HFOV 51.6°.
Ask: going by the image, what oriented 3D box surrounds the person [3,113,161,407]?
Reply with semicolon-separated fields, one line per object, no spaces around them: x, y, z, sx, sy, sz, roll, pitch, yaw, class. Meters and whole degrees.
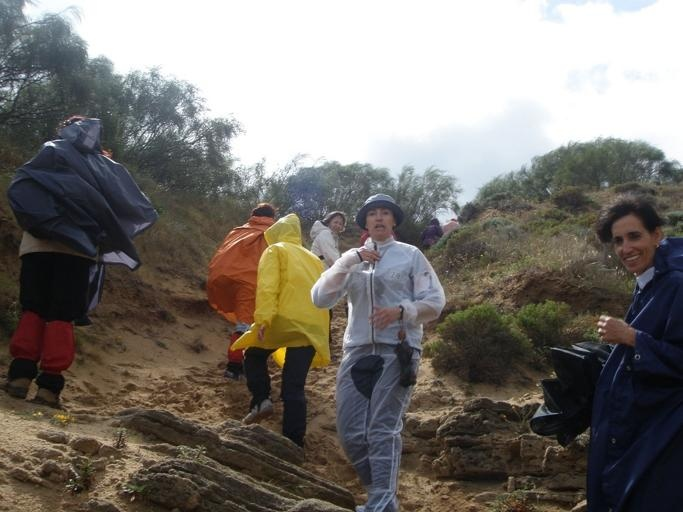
-2.772;-0.064;7.077;0.681;2.985;1.367;-8;-27;45;person
